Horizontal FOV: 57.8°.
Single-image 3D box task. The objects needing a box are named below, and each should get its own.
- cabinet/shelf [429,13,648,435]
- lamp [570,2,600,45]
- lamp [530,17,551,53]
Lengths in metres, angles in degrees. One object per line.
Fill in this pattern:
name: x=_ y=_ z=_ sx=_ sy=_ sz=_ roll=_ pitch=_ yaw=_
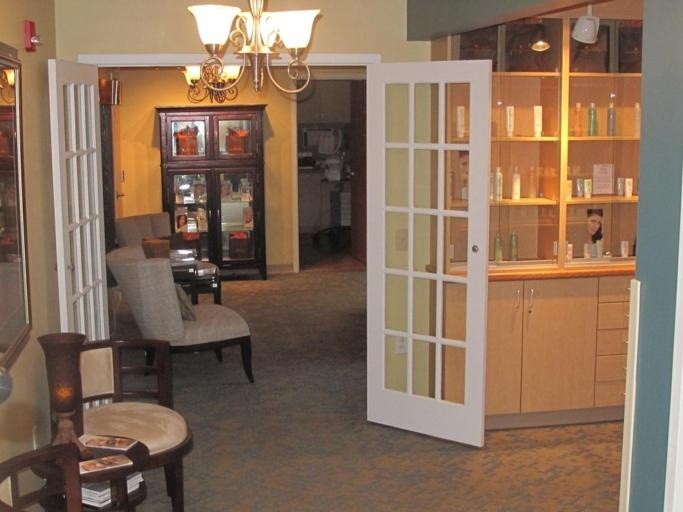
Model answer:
cabinet/shelf: x=1.689 y=-0.309 z=4.772 sx=1.595 sy=3.195 sz=0.688 roll=-3 pitch=11 yaw=-12
lamp: x=1.776 y=-1.673 z=4.449 sx=0.146 sy=0.280 sz=0.272 roll=7 pitch=13 yaw=34
lamp: x=1.543 y=-1.684 z=4.740 sx=0.156 sy=0.239 sz=0.057 roll=-3 pitch=11 yaw=-12
